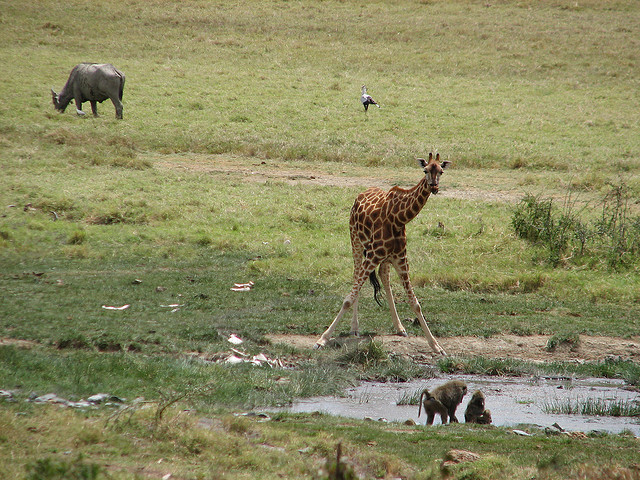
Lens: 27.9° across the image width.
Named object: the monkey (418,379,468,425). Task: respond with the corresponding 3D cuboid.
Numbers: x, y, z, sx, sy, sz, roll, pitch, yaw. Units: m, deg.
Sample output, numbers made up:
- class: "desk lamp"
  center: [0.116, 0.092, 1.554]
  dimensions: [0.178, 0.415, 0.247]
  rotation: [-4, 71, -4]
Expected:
- class: "monkey"
  center: [4.570, 5.877, 46.106]
  dimensions: [1.476, 1.483, 2.027]
  rotation: [2, 6, 22]
